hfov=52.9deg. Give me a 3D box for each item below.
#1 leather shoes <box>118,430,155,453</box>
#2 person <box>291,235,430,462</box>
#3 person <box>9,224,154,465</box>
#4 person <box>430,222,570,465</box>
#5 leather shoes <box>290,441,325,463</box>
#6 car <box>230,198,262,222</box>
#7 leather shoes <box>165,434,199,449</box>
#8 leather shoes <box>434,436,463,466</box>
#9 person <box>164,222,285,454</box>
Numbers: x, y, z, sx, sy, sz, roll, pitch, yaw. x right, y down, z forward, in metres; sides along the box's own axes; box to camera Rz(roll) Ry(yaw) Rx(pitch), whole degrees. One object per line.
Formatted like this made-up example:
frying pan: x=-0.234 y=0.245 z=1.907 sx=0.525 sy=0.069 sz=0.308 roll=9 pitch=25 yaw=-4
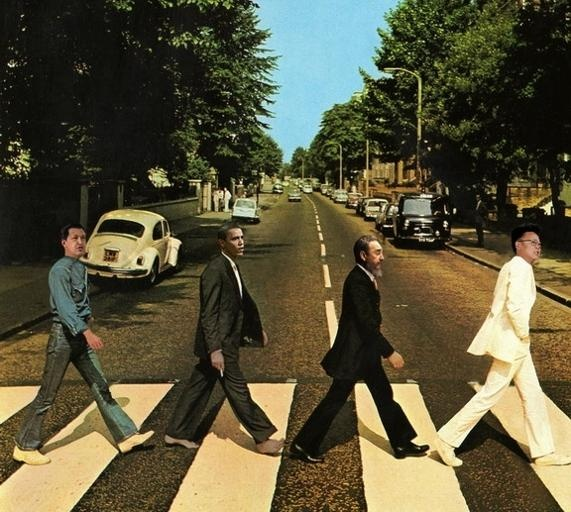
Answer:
leather shoes: x=-1.266 y=1.561 z=4.815 sx=0.248 sy=0.084 sz=0.110 roll=-25 pitch=0 yaw=-13
person: x=0.622 y=0.765 z=4.600 sx=1.027 sy=1.783 sz=0.490 roll=4 pitch=9 yaw=14
person: x=-1.751 y=0.724 z=4.755 sx=0.999 sy=1.920 sz=0.679 roll=-3 pitch=10 yaw=-28
person: x=1.824 y=0.741 z=4.652 sx=0.961 sy=1.947 sz=0.866 roll=6 pitch=10 yaw=25
leather shoes: x=0.166 y=1.576 z=4.614 sx=0.271 sy=0.118 sz=0.085 roll=19 pitch=20 yaw=5
car: x=-2.557 y=-2.872 z=36.990 sx=1.704 sy=1.576 sz=1.056 roll=1 pitch=9 yaw=-7
leather shoes: x=-0.887 y=1.565 z=4.895 sx=0.330 sy=0.150 sz=0.114 roll=1 pitch=6 yaw=-6
leather shoes: x=1.281 y=1.564 z=4.607 sx=0.106 sy=0.272 sz=0.151 roll=-29 pitch=17 yaw=41
person: x=-0.521 y=0.703 z=4.836 sx=0.981 sy=1.909 sz=0.656 roll=0 pitch=9 yaw=-10
